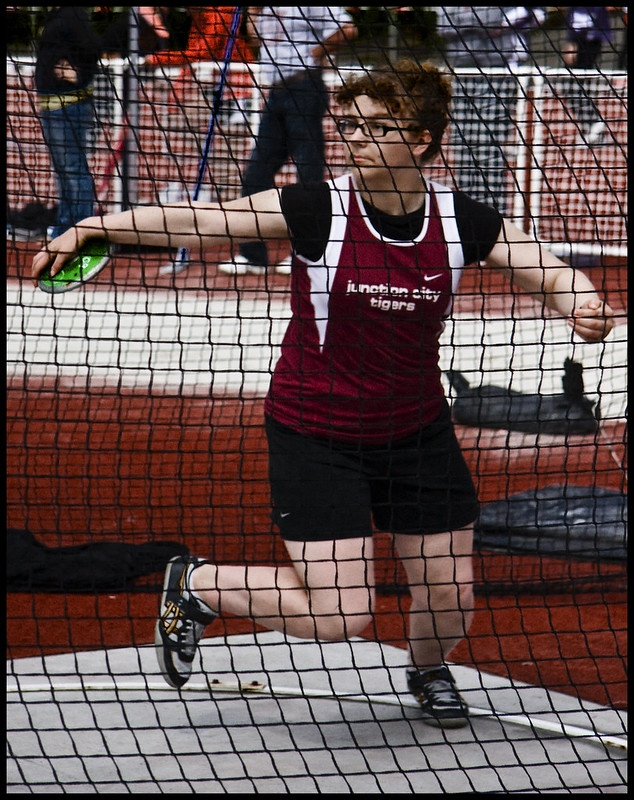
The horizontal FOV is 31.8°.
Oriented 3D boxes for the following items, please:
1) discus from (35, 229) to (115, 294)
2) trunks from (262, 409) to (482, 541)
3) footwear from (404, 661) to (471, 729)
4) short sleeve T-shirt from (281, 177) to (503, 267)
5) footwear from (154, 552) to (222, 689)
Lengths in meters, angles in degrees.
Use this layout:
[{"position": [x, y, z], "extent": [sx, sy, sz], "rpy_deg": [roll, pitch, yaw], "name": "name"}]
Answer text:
[{"position": [-0.613, -0.334, 2.810], "extent": [0.190, 0.126, 0.328], "rpy_deg": [-5, 8, -12], "name": "discus"}, {"position": [0.217, 0.169, 2.999], "extent": [0.670, 0.395, 0.335], "rpy_deg": [-2, 2, 33], "name": "trunks"}, {"position": [0.322, 0.789, 2.994], "extent": [0.092, 0.078, 0.230], "rpy_deg": [-10, 10, -16], "name": "footwear"}, {"position": [0.191, -0.402, 2.830], "extent": [0.696, 0.173, 0.164], "rpy_deg": [3, 17, 0], "name": "short sleeve T-shirt"}, {"position": [-0.357, 0.573, 2.967], "extent": [0.200, 0.357, 0.140], "rpy_deg": [-4, -3, 20], "name": "footwear"}]
